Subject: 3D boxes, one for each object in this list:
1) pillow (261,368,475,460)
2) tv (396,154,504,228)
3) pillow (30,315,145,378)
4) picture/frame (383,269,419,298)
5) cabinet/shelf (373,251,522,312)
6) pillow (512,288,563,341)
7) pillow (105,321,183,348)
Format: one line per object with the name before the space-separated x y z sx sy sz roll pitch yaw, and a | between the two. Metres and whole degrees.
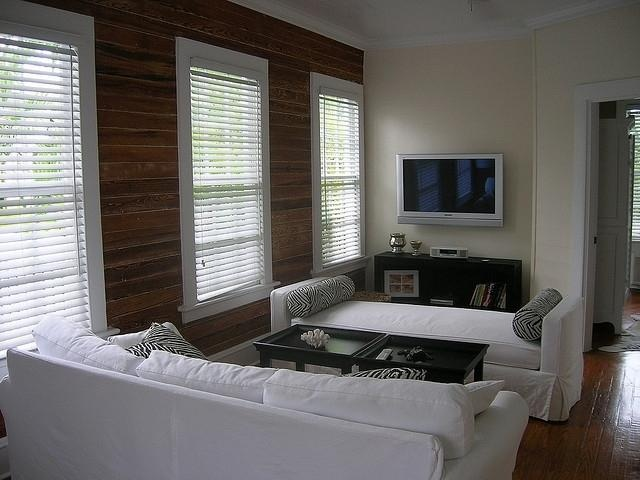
pillow | 0.296 1.062 3.429 1.366 0.610 0.990 28 -23 -30
tv | 1.540 -0.574 5.314 1.006 0.589 0.063 2 6 25
pillow | -1.140 0.508 2.251 0.433 0.110 0.265 17 24 23
picture/frame | 0.949 0.516 5.479 0.383 0.273 0.025 0 0 -6
cabinet/shelf | 1.545 0.480 5.530 1.789 0.539 0.401 0 0 38
pillow | 1.556 0.408 3.324 0.286 0.214 0.907 1 10 29
pillow | -1.035 0.538 2.650 0.255 0.065 0.240 -7 15 -39
